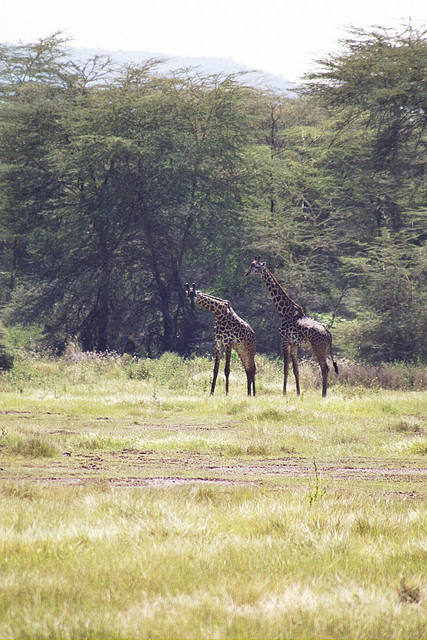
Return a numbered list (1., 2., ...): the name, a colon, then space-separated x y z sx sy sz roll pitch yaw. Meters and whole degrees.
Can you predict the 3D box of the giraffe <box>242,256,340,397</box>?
1. giraffe: 1.847 0.127 28.715 0.961 3.165 2.425 1 0 -29
